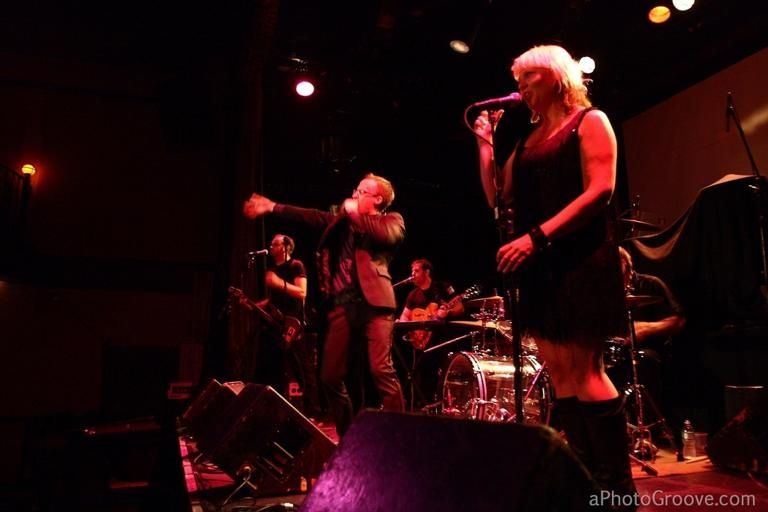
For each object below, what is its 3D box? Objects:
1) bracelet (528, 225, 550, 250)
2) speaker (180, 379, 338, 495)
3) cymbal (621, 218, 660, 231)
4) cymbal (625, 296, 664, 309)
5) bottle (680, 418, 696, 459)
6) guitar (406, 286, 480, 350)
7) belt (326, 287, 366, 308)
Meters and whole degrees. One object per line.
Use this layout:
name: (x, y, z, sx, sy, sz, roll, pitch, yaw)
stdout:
bracelet: (0.835, -0.095, 3.237, 0.101, 0.119, 0.085, 13, -22, -36)
speaker: (-0.800, 1.164, 3.931, 0.782, 0.617, 1.109, 7, -8, -31)
cymbal: (2.465, -0.297, 5.852, 0.260, 0.065, 0.264, 13, 1, 13)
cymbal: (2.407, 0.422, 5.622, 0.311, 0.067, 0.289, 5, -6, -3)
bottle: (2.684, 1.624, 5.382, 0.120, 0.333, 0.346, -8, -20, 25)
guitar: (0.637, 0.675, 7.279, 1.230, 0.515, 0.132, -36, -22, 33)
belt: (-0.269, 0.323, 4.638, 0.214, 0.133, 0.053, -11, -15, 33)
